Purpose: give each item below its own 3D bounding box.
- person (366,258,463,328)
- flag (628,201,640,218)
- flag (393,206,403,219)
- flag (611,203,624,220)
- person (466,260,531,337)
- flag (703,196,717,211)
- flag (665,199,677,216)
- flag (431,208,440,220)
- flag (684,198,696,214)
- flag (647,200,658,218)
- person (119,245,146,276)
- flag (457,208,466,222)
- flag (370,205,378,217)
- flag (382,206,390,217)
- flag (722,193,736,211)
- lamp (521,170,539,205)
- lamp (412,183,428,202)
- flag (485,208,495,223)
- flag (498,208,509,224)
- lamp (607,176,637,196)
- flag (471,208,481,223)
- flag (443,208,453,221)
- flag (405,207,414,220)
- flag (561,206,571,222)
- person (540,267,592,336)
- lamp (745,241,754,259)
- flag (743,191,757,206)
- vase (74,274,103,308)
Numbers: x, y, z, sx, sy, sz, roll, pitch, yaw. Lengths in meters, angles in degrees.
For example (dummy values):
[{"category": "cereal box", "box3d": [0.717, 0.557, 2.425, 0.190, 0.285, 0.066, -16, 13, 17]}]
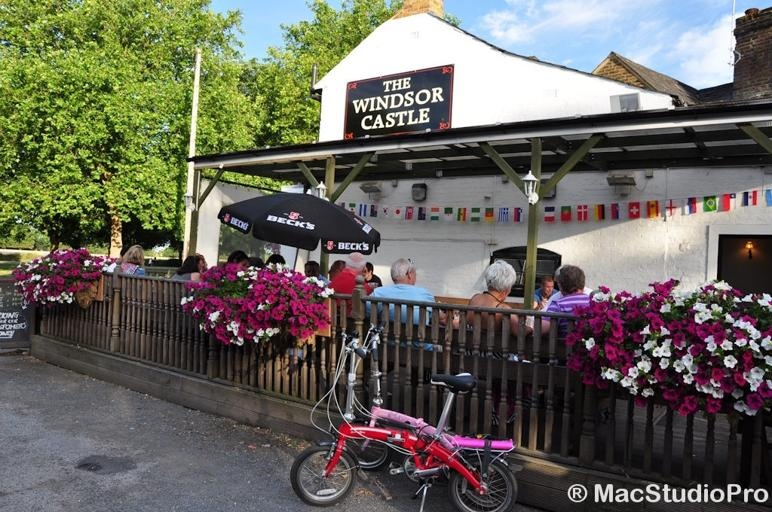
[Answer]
[{"category": "person", "box3d": [0.231, 0.485, 8.840, 1.233, 0.936, 0.698, 0, 8, 36]}, {"category": "flag", "box3d": [4.623, -0.856, 12.490, 0.197, 0.283, 0.080, 3, 9, 15]}, {"category": "flag", "box3d": [0.266, -0.962, 15.071, 0.223, 0.244, 0.218, 2, 6, 19]}, {"category": "flag", "box3d": [4.338, -0.837, 12.679, 0.183, 0.296, 0.099, 3, 15, 20]}, {"category": "person", "box3d": [1.379, 0.516, 8.300, 0.572, 0.880, 0.911, 8, 4, -38]}, {"category": "flag", "box3d": [5.748, -0.931, 11.881, 0.240, 0.345, 0.033, 6, 3, 42]}, {"category": "flag", "box3d": [5.209, -0.885, 12.234, 0.270, 0.307, 0.042, 4, 8, 34]}, {"category": "flag", "box3d": [1.066, -0.920, 14.598, 0.234, 0.334, 0.033, 5, 7, 28]}, {"category": "flag", "box3d": [5.437, -0.908, 12.049, 0.058, 0.239, 0.236, 5, 16, 11]}, {"category": "flag", "box3d": [4.904, -0.864, 12.320, 0.273, 0.384, 0.061, 5, 6, 34]}, {"category": "person", "box3d": [-4.225, 0.139, 11.097, 0.380, 0.475, 1.000, -8, 16, -21]}, {"category": "flag", "box3d": [1.595, -0.886, 14.245, 0.250, 0.363, 0.050, 5, 8, 21]}, {"category": "flag", "box3d": [-0.295, -1.032, 15.300, 0.238, 0.342, 0.033, 4, 9, 18]}, {"category": "flag", "box3d": [-0.020, -1.014, 15.227, 0.229, 0.298, 0.039, 1, 5, 20]}, {"category": "flag", "box3d": [6.059, -0.955, 11.810, 0.304, 0.361, 0.017, 0, 5, 20]}, {"category": "lamp", "box3d": [2.372, -1.118, 11.051, 0.286, 0.523, 0.287, 0, 0, 31]}, {"category": "lamp", "box3d": [0.723, -1.382, 14.723, 0.372, 0.367, 0.363, 0, -2, 12]}, {"category": "flag", "box3d": [2.148, -0.848, 13.930, 0.282, 0.408, 0.019, 0, 2, 34]}, {"category": "flag", "box3d": [2.409, -0.814, 13.699, 0.244, 0.260, 0.238, 1, 12, 25]}, {"category": "lamp", "box3d": [4.434, -1.428, 12.603, 0.497, 0.503, 0.361, 4, 22, 20]}, {"category": "flag", "box3d": [1.877, -0.855, 14.138, 0.266, 0.286, 0.258, 4, 5, 21]}, {"category": "flag", "box3d": [1.330, -0.883, 14.375, 0.243, 0.351, 0.228, 6, 9, 38]}, {"category": "flag", "box3d": [0.509, -0.945, 14.896, 0.196, 0.301, 0.129, 0, 14, 11]}, {"category": "flag", "box3d": [3.516, -0.829, 13.112, 0.258, 0.362, 0.036, -8, -15, 21]}, {"category": "person", "box3d": [2.248, 0.586, 8.363, 0.896, 0.921, 0.475, -2, 5, -33]}, {"category": "lamp", "box3d": [8.407, -0.137, 15.513, 0.153, 0.458, 0.255, 7, 17, 32]}, {"category": "flag", "box3d": [6.325, -1.000, 11.626, 0.020, 0.277, 0.252, -3, 3, -32]}, {"category": "vase", "box3d": [-4.902, 0.589, 11.055, 0.580, 0.483, 0.171, 3, 15, 21]}]
